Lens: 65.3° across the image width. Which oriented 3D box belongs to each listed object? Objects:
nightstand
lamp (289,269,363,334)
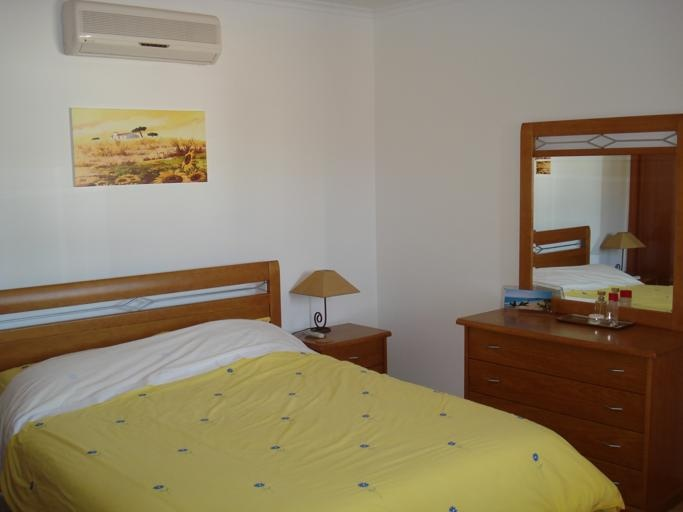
[{"bbox_3d":[-0.008,0.654,4.077,0.609,0.459,0.440,-7,10,-44],"label":"nightstand"},{"bbox_3d":[-0.120,0.304,4.234,0.552,0.460,0.635,4,6,38],"label":"lamp"}]
